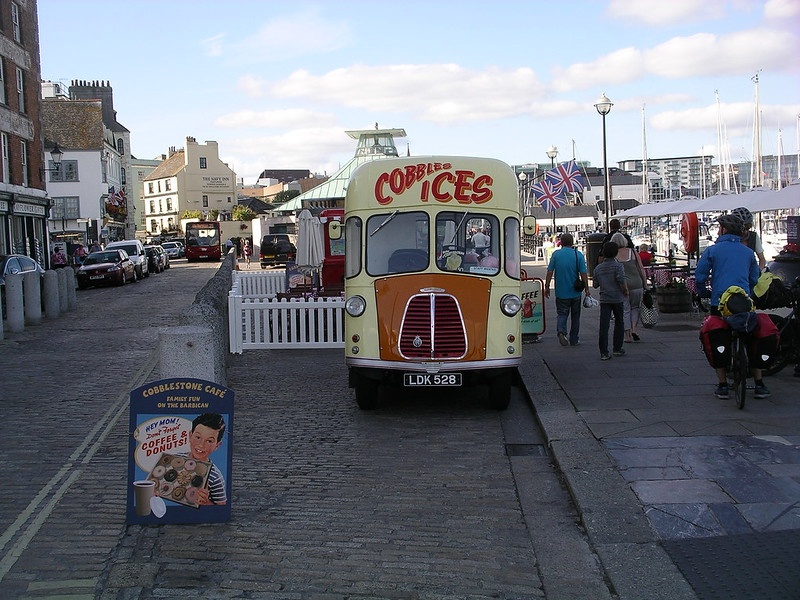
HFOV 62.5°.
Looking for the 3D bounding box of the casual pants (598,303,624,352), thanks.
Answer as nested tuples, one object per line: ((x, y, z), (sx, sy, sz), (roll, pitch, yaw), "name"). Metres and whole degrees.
((3.752, 0.432, 11.641), (0.462, 1.042, 0.307), (-1, 13, 14), "casual pants")

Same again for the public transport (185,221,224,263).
((-18.001, -5.436, 60.685), (2.980, 3.304, 1.476), (-3, 5, -10), "public transport")

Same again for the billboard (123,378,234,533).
((-1.752, 1.259, 5.284), (1.145, 1.613, 0.072), (1, 1, -6), "billboard")

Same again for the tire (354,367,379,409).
((-0.449, 1.168, 8.921), (0.210, 0.605, 0.597), (0, 4, 5), "tire")

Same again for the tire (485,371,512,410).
((1.361, 1.234, 9.010), (0.284, 0.610, 0.482), (-2, 6, 5), "tire")

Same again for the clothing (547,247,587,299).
((3.296, -0.519, 13.052), (0.698, 0.994, 0.409), (-1, 5, 11), "clothing")

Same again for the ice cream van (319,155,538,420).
((0.572, -0.391, 11.696), (2.967, 3.584, 5.712), (0, 4, 2), "ice cream van")
